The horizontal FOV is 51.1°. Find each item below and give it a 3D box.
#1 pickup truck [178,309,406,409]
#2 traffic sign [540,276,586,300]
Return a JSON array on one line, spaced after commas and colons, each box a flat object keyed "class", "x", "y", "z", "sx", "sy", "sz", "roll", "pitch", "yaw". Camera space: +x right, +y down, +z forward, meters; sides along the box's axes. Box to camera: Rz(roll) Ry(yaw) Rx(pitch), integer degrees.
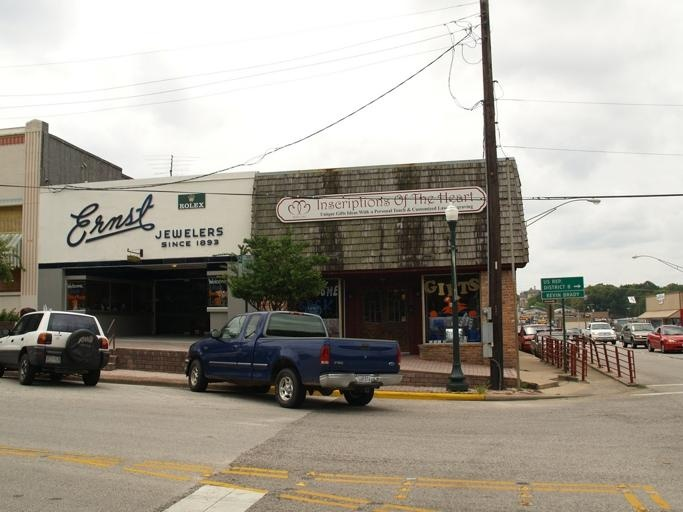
[{"class": "pickup truck", "x": -1.488, "y": 2.334, "z": 17.175, "sx": 2.164, "sy": 1.823, "sz": 4.724, "roll": 7, "pitch": -6, "yaw": -41}, {"class": "traffic sign", "x": 8.052, "y": 1.173, "z": 26.006, "sx": 1.475, "sy": 0.841, "sz": 2.235, "roll": 0, "pitch": -3, "yaw": 16}]
